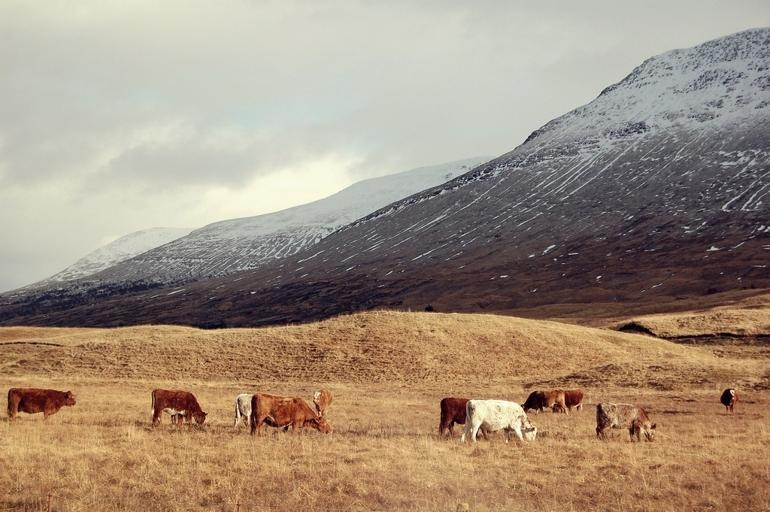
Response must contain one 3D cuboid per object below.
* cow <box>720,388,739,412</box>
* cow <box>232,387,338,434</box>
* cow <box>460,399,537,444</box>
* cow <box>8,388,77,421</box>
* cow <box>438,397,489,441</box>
[{"bbox_3d":[34.992,14.333,81.987,1.307,2.165,3.906,5,11,27],"label":"cow"},{"bbox_3d":[-9.903,14.530,74.816,7.920,3.849,1.724,-2,11,-10],"label":"cow"},{"bbox_3d":[10.267,15.112,73.836,6.314,3.693,1.464,-1,11,-2],"label":"cow"},{"bbox_3d":[-31.390,13.756,77.197,8.322,3.540,2.317,1,-4,-11],"label":"cow"},{"bbox_3d":[6.648,15.007,76.342,4.035,3.692,5.514,-3,7,-1],"label":"cow"}]
